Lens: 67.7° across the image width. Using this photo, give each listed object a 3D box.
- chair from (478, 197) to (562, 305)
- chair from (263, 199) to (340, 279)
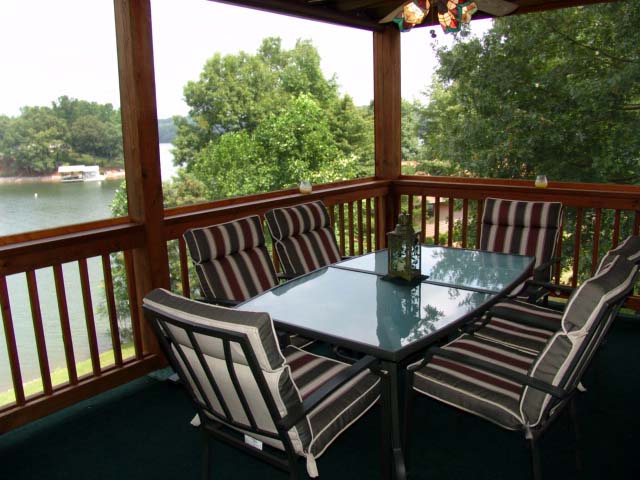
[{"bbox_3d":[1.522,0.029,3.848,0.665,0.935,0.848,5,15,37],"label":"chair"},{"bbox_3d":[-0.319,-0.036,3.961,0.507,0.678,0.636,-16,15,-40],"label":"chair"}]
